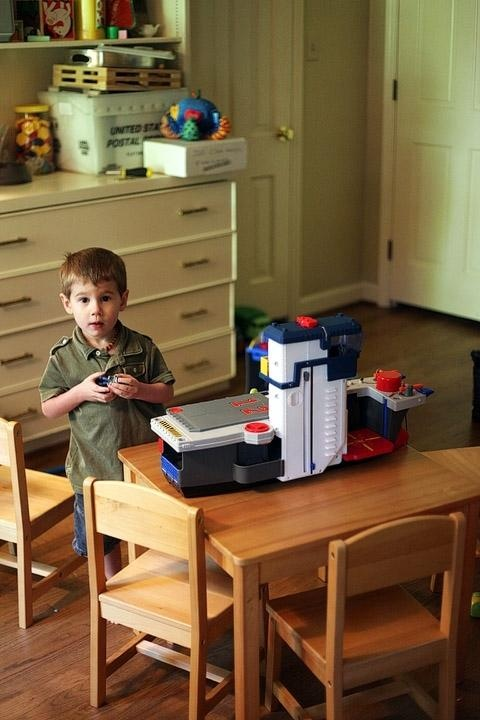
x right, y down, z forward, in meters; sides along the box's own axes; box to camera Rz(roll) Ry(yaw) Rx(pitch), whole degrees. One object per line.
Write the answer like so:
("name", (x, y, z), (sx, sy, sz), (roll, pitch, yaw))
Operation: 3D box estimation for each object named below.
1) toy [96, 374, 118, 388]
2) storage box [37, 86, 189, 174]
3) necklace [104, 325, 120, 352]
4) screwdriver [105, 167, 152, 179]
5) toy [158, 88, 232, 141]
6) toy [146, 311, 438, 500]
("toy", (-0.270, 0.042, 1.264), (0.050, 0.024, 0.026), (4, 13, 16))
("storage box", (-0.534, -0.968, 2.645), (0.481, 0.299, 0.344), (-17, 28, -41))
("necklace", (-0.296, -0.045, 1.398), (0.017, 0.056, 0.040), (17, 22, 13))
("screwdriver", (-0.451, -0.746, 2.461), (0.196, 0.045, 0.116), (1, 12, 0))
("toy", (-0.189, -1.045, 2.531), (0.228, 0.161, 0.230), (-15, 32, -28))
("toy", (0.100, 0.020, 1.178), (0.527, 0.295, 0.272), (-14, 24, -24))
